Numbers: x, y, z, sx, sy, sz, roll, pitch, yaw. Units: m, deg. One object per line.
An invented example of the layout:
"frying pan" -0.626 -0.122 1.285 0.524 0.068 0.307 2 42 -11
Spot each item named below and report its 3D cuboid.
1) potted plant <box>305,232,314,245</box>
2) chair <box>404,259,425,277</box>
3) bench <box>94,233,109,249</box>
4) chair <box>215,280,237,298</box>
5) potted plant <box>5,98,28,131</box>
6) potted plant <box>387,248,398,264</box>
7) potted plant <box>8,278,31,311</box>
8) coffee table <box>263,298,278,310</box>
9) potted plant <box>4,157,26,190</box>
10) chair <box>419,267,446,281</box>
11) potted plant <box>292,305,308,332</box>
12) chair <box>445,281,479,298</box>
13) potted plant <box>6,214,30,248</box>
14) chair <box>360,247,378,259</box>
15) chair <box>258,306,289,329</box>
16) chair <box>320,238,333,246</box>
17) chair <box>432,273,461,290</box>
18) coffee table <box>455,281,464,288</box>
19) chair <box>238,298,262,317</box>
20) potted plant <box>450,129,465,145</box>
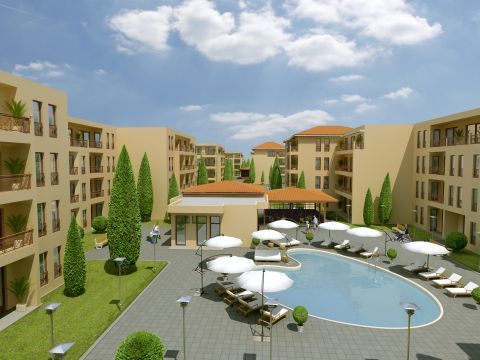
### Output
"potted plant" 8.154 6.759 34.261 1.219 1.476 1.182 -2 3 -8
"chair" 15.481 7.737 26.400 1.749 0.769 1.046 -1 -2 -30
"bench" -15.309 6.843 33.107 1.055 1.167 2.031 1 1 -18
"chair" -1.062 8.348 22.775 1.412 0.722 1.009 -1 4 -8
"potted plant" -15.155 -4.365 20.339 1.040 2.152 0.913 0 2 -40
"potted plant" 14.384 7.152 28.389 0.714 0.897 1.620 2 1 33
"potted plant" -15.234 7.814 21.164 1.836 1.917 1.810 -2 -3 45
"coffee table" 1.889 7.842 18.836 1.052 0.556 1.479 -2 -4 3
"potted plant" -15.355 -0.464 20.421 1.101 2.112 1.301 0 2 -41
"chair" 16.108 7.952 25.206 1.879 0.880 1.061 -3 -3 0
"potted plant" 3.660 8.766 18.813 1.059 1.483 1.079 0 -10 -4
"chair" 16.836 8.469 22.624 2.254 1.010 1.197 -2 -1 4
"potted plant" -15.338 3.041 20.696 1.314 1.305 0.536 2 2 9
"chair" 12.755 7.267 29.743 1.895 1.017 1.114 1 1 -27
"chair" 2.177 8.605 19.620 1.145 1.065 2.441 6 10 35
"chair" 9.566 6.941 33.189 1.411 0.823 0.779 0 2 -44
"chair" 16.460 8.111 23.926 1.754 0.883 1.156 -4 -3 3
"coffee table" 17.368 8.302 23.555 0.570 0.171 0.602 -3 5 -7
"chair" 0.593 8.671 20.475 1.609 0.986 1.365 2 1 5
"potted plant" 25.178 -4.976 34.740 1.230 1.535 2.124 2 1 20
